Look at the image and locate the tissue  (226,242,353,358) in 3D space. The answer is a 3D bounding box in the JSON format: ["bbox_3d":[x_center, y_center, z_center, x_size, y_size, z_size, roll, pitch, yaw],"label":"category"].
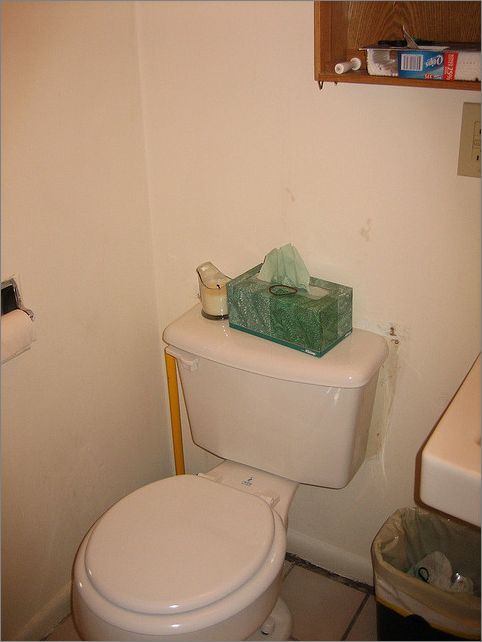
[{"bbox_3d":[0.086,-0.057,1.092,0.214,0.176,0.116,18,30,32],"label":"tissue "}]
